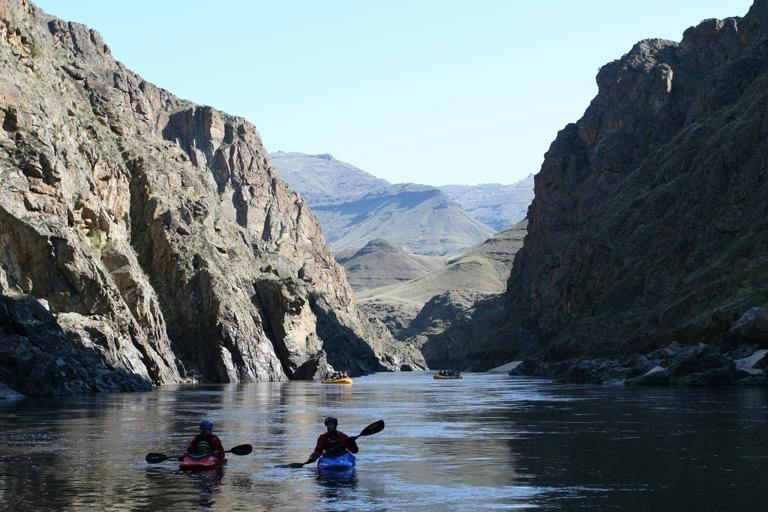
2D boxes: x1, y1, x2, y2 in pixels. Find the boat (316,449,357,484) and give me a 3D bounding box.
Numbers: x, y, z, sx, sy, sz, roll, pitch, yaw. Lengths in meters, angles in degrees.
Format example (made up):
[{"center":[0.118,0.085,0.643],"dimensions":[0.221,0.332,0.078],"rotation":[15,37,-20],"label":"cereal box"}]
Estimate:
[{"center":[-2.810,12.263,56.872],"dimensions":[2.280,1.669,2.361],"rotation":[-2,-14,-4],"label":"boat"}]
